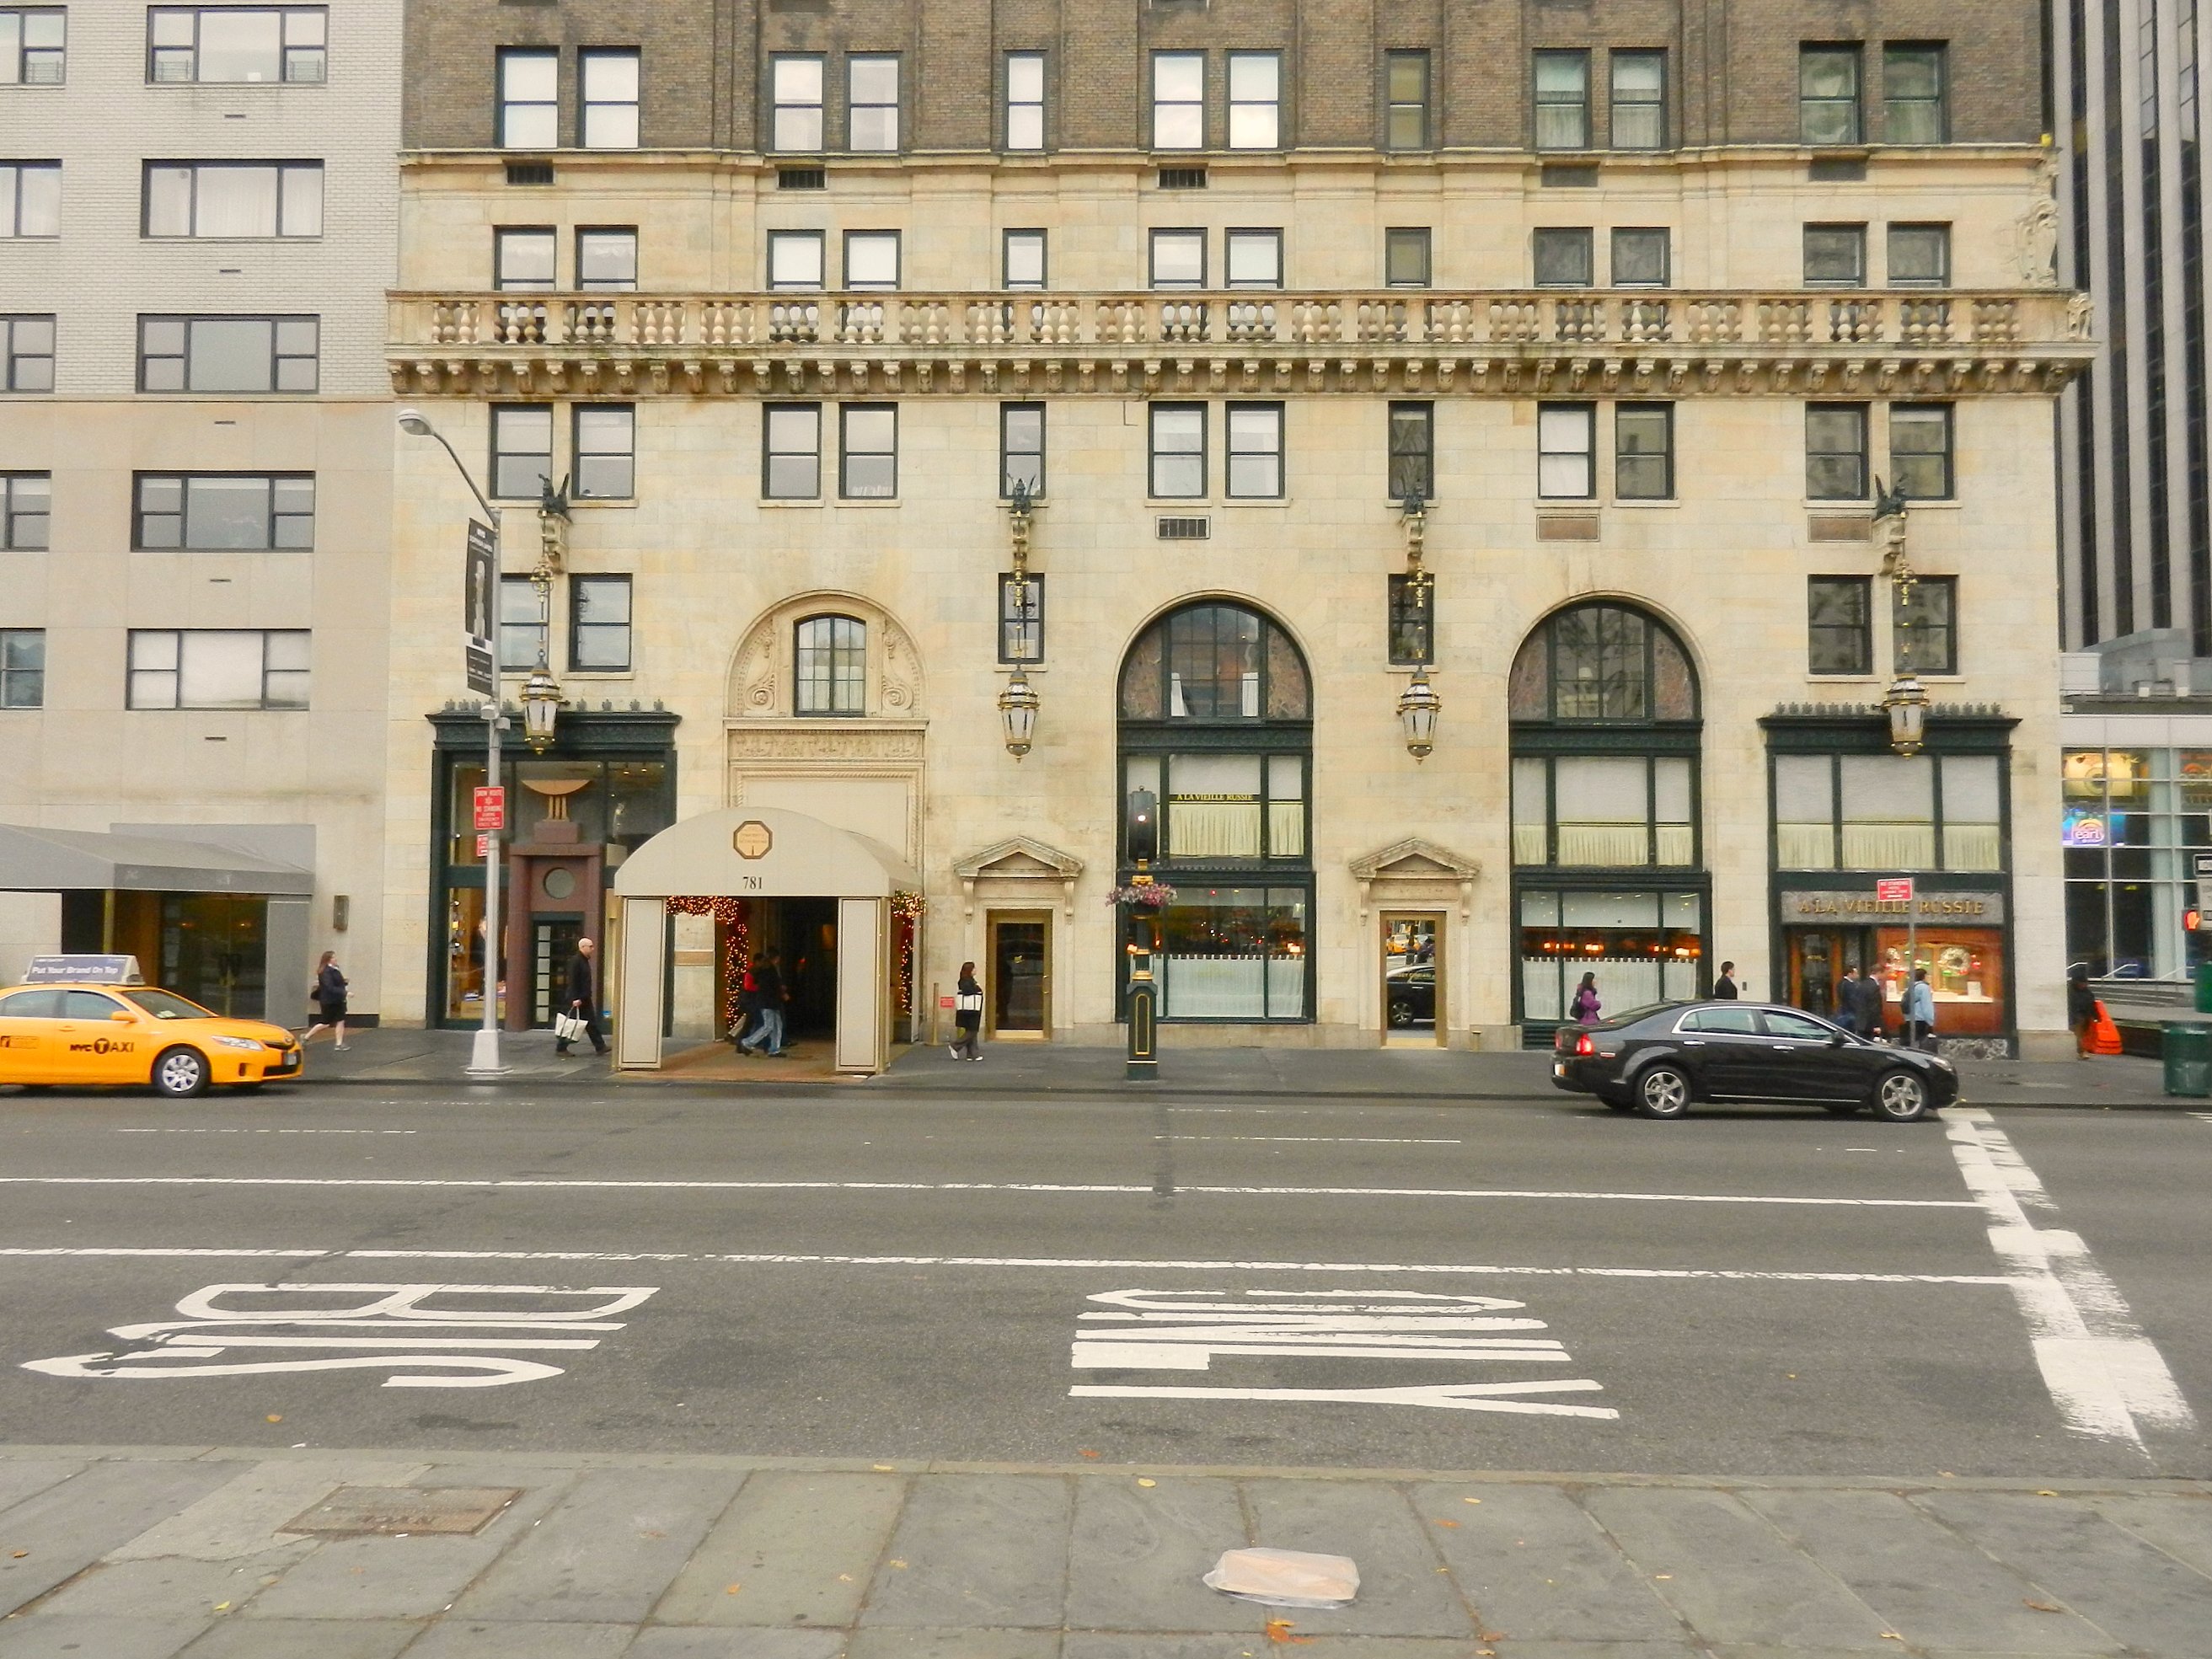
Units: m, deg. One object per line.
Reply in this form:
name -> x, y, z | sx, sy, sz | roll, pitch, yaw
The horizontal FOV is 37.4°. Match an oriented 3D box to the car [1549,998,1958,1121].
car -> 11.708, 4.266, 59.397 | 6.496, 1.807, 2.646 | -1, -4, 0

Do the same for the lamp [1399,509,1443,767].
lamp -> 6.516, -4.107, 67.582 | 0.856, 5.222, 1.527 | 0, -3, 5

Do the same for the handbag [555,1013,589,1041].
handbag -> -10.662, 3.979, 65.428 | 0.582, 0.665, 0.290 | 5, -34, -11

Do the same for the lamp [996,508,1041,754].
lamp -> -1.721, -4.262, 67.943 | 0.852, 5.517, 1.292 | 0, -3, -1

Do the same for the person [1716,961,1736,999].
person -> 12.803, 3.092, 66.886 | 0.474, 0.708, 1.376 | -1, -3, 14
